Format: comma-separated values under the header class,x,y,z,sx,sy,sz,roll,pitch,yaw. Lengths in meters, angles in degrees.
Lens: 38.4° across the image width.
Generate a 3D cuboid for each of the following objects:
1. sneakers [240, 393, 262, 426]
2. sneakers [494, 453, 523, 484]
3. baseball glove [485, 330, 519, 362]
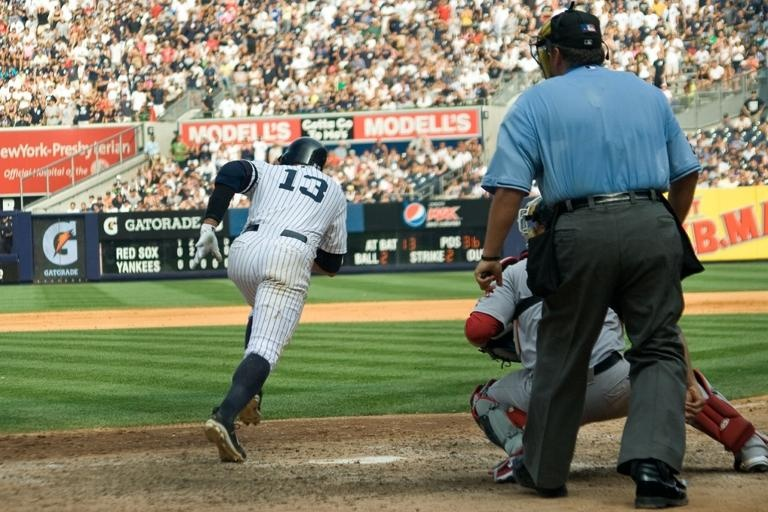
class,x,y,z,sx,sy,sz,roll,pitch,yaw
sneakers,-1.698,1.950,14.042,0.188,0.215,0.489,4,-40,-4
sneakers,1.543,2.529,13.176,0.525,0.215,0.167,0,-2,-2
baseball glove,1.485,1.108,13.588,0.409,0.166,0.407,9,4,35
